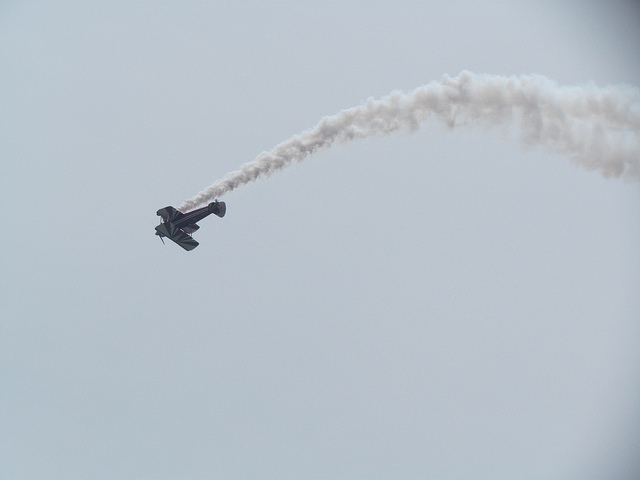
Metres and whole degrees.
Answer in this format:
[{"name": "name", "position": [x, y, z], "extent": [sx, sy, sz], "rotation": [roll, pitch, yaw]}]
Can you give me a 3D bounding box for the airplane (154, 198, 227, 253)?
[{"name": "airplane", "position": [-7.278, -1.113, 68.333], "extent": [3.777, 5.011, 1.841], "rotation": [-18, -102, -5]}]
